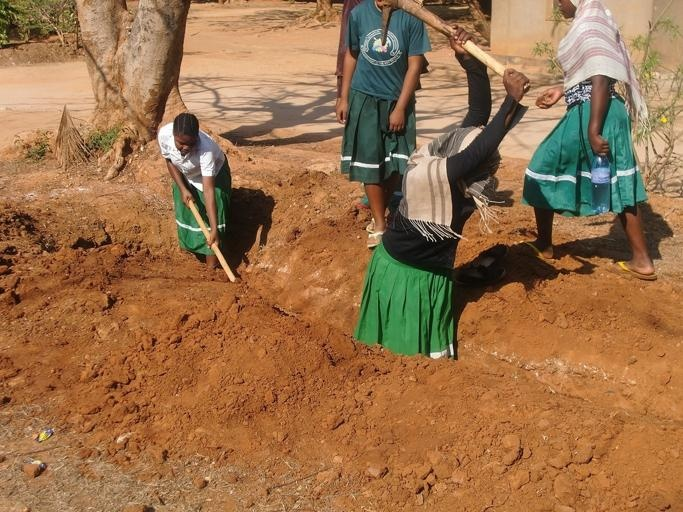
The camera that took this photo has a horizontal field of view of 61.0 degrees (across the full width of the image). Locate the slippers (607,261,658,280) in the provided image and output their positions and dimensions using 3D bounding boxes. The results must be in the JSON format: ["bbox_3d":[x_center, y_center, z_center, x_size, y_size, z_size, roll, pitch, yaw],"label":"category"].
[{"bbox_3d":[2.193,0.116,4.407,0.145,0.087,0.333,-9,19,-42],"label":"slippers"}]

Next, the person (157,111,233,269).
[{"bbox_3d":[-1.340,-0.674,5.312,0.600,1.525,1.576,-4,-21,-11],"label":"person"}]

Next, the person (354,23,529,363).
[{"bbox_3d":[0.608,-0.276,3.783,1.010,2.281,0.652,-1,19,1],"label":"person"}]
